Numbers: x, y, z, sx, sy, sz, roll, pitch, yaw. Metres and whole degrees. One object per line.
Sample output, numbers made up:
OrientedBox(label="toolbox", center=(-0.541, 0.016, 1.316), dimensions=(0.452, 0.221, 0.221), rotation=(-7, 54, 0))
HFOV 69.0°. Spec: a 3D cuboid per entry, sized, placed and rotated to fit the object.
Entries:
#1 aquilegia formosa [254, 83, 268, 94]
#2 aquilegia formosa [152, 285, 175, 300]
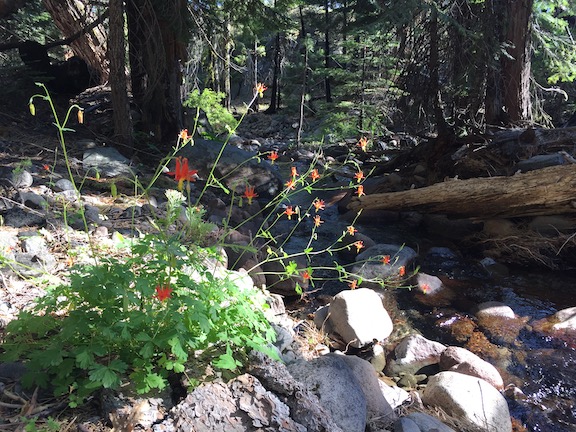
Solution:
OrientedBox(label="aquilegia formosa", center=(-0.235, -1.088, 3.557), dimensions=(0.101, 0.024, 0.097), rotation=(-20, 35, -17))
OrientedBox(label="aquilegia formosa", center=(-0.867, 0.544, 2.895), dimensions=(0.115, 0.057, 0.113), rotation=(-32, 52, 5))
